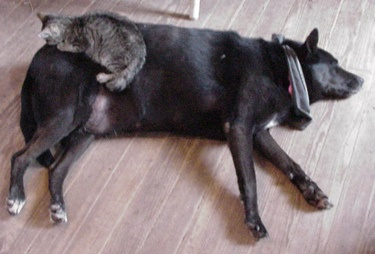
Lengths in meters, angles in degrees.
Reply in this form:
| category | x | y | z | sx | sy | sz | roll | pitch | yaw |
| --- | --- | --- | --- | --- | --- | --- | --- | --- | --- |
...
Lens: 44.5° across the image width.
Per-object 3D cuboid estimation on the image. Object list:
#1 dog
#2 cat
| category | x | y | z | sx | sy | sz | roll | pitch | yaw |
| --- | --- | --- | --- | --- | --- | --- | --- | --- | --- |
| dog | 0.090 | -0.032 | 4.011 | 3.092 | 0.964 | 2.096 | 4 | 80 | 0 |
| cat | -0.690 | -0.614 | 3.194 | 0.875 | 0.278 | 0.552 | 24 | 46 | 15 |
